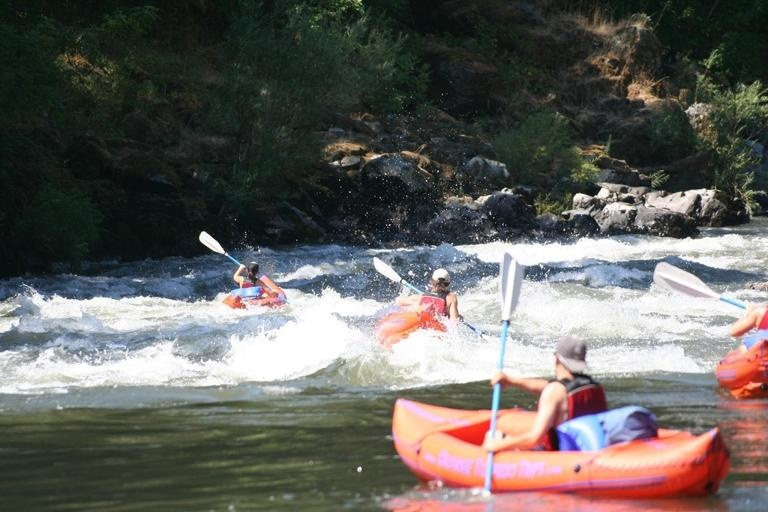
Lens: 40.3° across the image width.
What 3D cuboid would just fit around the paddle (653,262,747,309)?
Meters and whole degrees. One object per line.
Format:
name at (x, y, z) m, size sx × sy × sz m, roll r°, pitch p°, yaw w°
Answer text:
paddle at (7.011, 0.662, 23.579) m, size 1.722 × 0.968 × 0.529 m, roll 2°, pitch 23°, yaw 12°

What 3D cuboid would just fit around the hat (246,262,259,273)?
hat at (-3.465, 0.307, 27.596) m, size 0.309 × 0.228 × 0.299 m, roll -28°, pitch -17°, yaw 28°

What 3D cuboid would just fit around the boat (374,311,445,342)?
boat at (0.596, 1.633, 24.731) m, size 1.247 × 0.312 × 0.806 m, roll -10°, pitch 47°, yaw -5°

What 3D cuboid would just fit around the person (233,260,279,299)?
person at (-3.400, 0.605, 27.861) m, size 0.919 × 1.203 × 1.186 m, roll 1°, pitch 17°, yaw -2°
